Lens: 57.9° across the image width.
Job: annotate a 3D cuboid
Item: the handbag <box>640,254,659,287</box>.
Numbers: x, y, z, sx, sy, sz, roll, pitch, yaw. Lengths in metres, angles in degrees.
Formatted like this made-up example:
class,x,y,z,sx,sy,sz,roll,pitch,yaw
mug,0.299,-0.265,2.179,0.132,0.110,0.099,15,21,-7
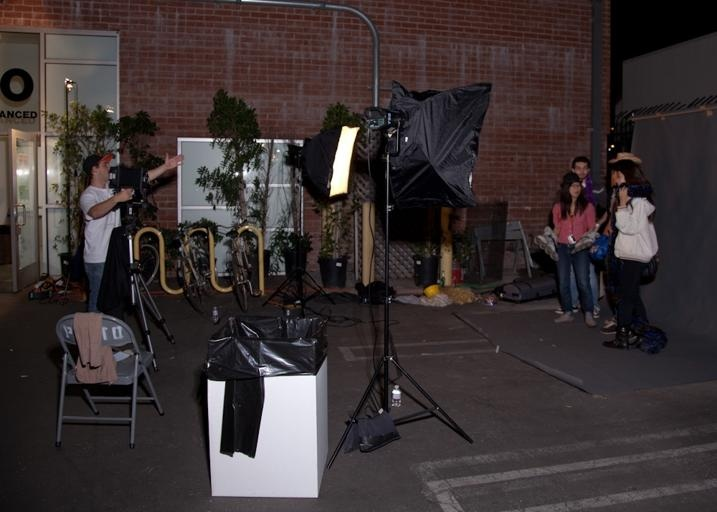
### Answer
class,x,y,z,sx,sy,sz,roll,pitch,yaw
handbag,4.172,0.187,9.289,0.214,0.485,0.322,-1,21,0

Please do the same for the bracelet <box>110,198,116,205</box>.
class,x,y,z,sx,sy,sz,roll,pitch,yaw
bracelet,-2.980,-0.664,7.891,0.045,0.072,0.020,-5,8,1

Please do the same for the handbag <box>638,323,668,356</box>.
class,x,y,z,sx,sy,sz,roll,pitch,yaw
handbag,3.945,1.131,8.683,0.271,0.265,0.238,-7,16,-22

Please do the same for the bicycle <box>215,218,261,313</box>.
class,x,y,z,sx,sy,sz,roll,pitch,yaw
bicycle,-2.287,0.068,12.758,1.171,1.817,1.243,-1,7,0

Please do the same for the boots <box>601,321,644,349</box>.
class,x,y,z,sx,sy,sz,roll,pitch,yaw
boots,3.611,1.089,8.959,0.583,0.466,0.239,2,12,23

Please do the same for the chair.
class,x,y,z,sx,sy,sz,roll,pitch,yaw
chair,-2.758,1.198,7.087,0.831,1.469,1.057,3,8,3

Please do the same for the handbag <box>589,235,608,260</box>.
class,x,y,z,sx,sy,sz,roll,pitch,yaw
handbag,3.643,-0.122,9.825,0.137,0.416,0.241,3,-5,-12
